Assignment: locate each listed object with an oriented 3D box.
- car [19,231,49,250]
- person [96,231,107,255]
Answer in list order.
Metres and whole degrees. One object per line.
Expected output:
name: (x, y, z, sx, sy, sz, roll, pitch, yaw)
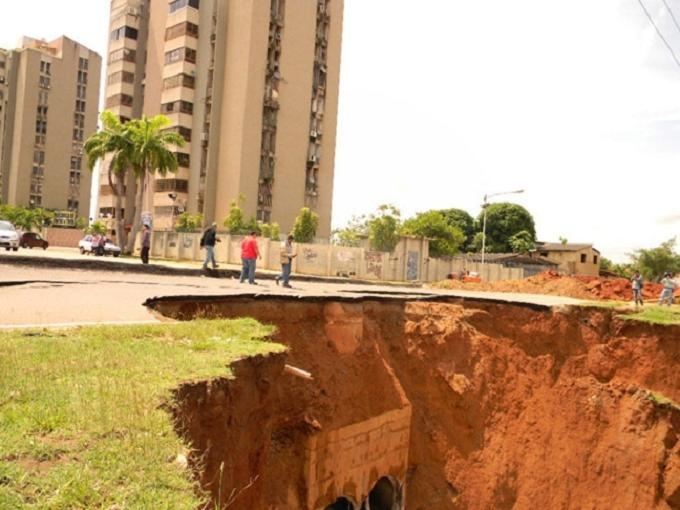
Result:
car: (-21.823, -0.998, 41.734, 1.201, 1.255, 2.132, 5, 5, 41)
person: (-14.828, -0.585, 35.890, 0.588, 1.504, 2.228, 3, -2, -23)
